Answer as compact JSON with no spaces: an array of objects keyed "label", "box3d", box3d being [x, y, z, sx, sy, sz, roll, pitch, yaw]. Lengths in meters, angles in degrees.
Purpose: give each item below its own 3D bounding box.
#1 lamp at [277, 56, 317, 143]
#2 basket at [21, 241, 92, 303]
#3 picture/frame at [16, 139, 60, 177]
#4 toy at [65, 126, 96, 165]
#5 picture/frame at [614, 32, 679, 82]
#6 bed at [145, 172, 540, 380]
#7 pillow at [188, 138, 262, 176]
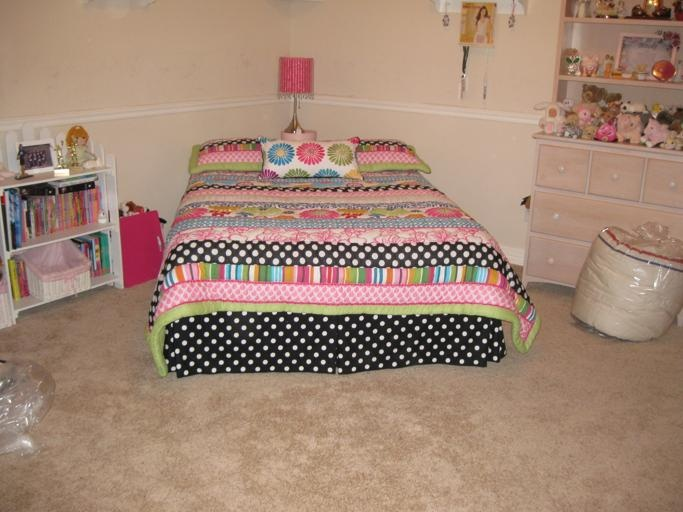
[{"label":"lamp","box3d":[-0.406,-1.453,4.857,0.327,0.682,0.684,0,22,-6]},{"label":"basket","box3d":[-1.996,0.089,3.699,0.334,0.210,0.455,-21,43,-36]},{"label":"picture/frame","box3d":[-2.087,-0.670,3.616,0.022,0.227,0.261,6,14,36]},{"label":"toy","box3d":[-1.878,-0.789,3.813,0.171,0.267,0.218,-15,28,-38]},{"label":"picture/frame","box3d":[2.174,-1.406,3.750,0.372,0.334,0.037,5,9,23]},{"label":"bed","box3d":[-0.113,-0.105,3.993,2.229,0.750,2.434,1,22,-5]},{"label":"pillow","box3d":[-0.879,-0.796,4.277,0.377,0.103,0.424,-4,32,-7]}]
